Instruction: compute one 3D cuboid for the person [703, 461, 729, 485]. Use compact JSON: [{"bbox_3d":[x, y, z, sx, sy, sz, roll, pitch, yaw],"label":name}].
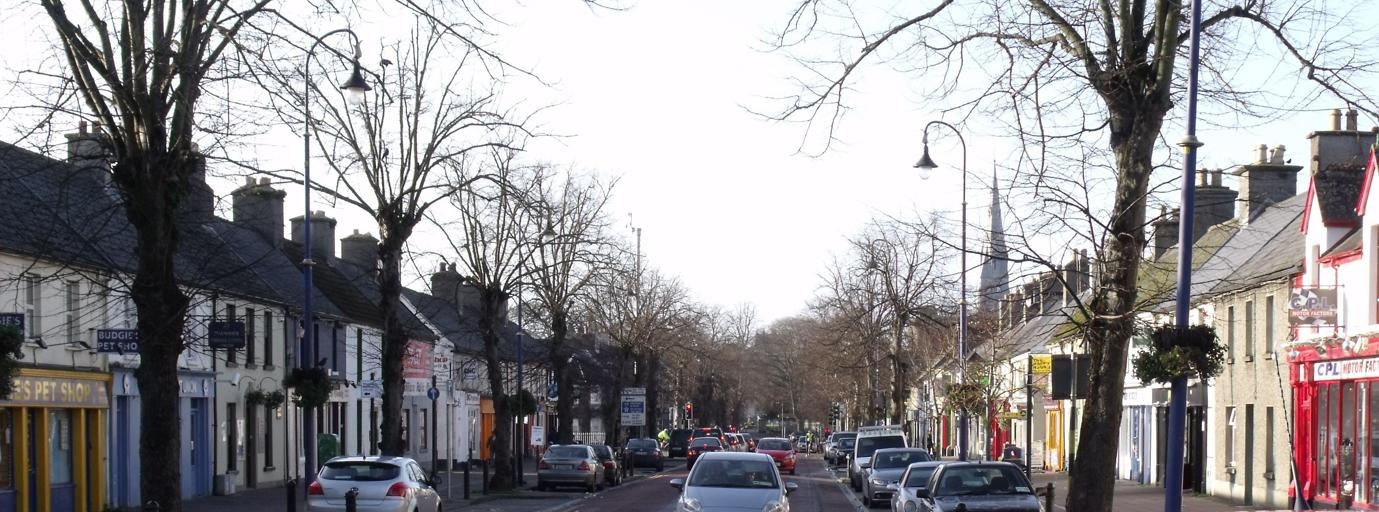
[{"bbox_3d":[1.472,11.565,97.265,1.345,1.037,0.296,1,-42,3],"label":"person"}]
